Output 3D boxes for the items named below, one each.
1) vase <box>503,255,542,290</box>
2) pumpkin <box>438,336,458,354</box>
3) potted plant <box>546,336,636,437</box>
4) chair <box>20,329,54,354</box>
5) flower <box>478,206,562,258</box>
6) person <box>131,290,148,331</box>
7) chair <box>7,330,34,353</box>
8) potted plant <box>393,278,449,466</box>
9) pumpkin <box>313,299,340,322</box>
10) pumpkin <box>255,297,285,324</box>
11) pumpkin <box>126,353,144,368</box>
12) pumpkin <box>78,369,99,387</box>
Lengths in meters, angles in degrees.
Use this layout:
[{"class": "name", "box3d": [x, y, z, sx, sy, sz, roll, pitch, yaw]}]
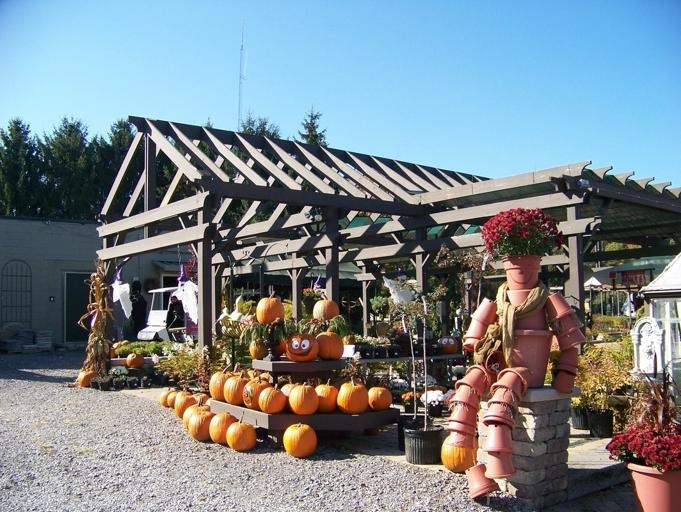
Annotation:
[{"class": "vase", "box3d": [1.964, 0.198, 7.046, 0.400, 0.365, 0.452, 1, -11, 7]}, {"class": "pumpkin", "box3d": [1.840, 1.540, 11.285, 0.246, 0.232, 0.271, 2, -5, -18]}, {"class": "potted plant", "box3d": [3.092, 1.667, 8.039, 1.131, 1.466, 0.902, 0, -9, 3]}, {"class": "chair", "box3d": [-9.017, 2.543, 19.623, 0.423, 0.549, 0.769, -4, -7, 33]}, {"class": "flower", "box3d": [2.106, -0.274, 7.128, 0.800, 0.655, 0.828, 0, 7, -2]}, {"class": "person", "box3d": [-6.041, 1.693, 19.467, 0.419, 1.233, 1.349, 1, -6, -16]}, {"class": "chair", "box3d": [-9.388, 2.494, 19.123, 0.706, 0.671, 1.055, 3, -7, -27]}, {"class": "potted plant", "box3d": [0.975, 1.422, 7.737, 0.485, 2.017, 0.505, 1, -6, 27]}, {"class": "pumpkin", "box3d": [-0.208, 0.812, 9.627, 0.271, 0.322, 0.287, -2, -4, -23]}, {"class": "pumpkin", "box3d": [-1.012, 0.750, 8.963, 0.323, 0.451, 0.336, 1, -5, 41]}, {"class": "pumpkin", "box3d": [-4.036, 2.063, 12.798, 0.359, 0.289, 0.355, 2, -6, -17]}, {"class": "pumpkin", "box3d": [-4.835, 2.332, 12.412, 0.294, 0.336, 0.333, 1, -1, 11]}]
